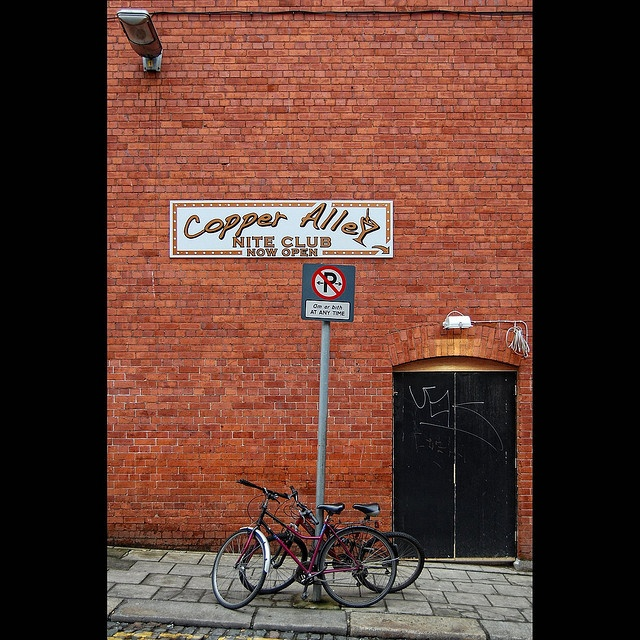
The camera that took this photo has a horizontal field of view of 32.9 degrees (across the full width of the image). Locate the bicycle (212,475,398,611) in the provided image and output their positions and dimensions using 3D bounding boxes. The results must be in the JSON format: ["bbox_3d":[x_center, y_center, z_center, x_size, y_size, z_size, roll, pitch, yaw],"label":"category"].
[{"bbox_3d":[-0.119,1.814,8.527,1.476,0.781,1.082,2,79,0],"label":"bicycle"}]

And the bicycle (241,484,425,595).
[{"bbox_3d":[0.228,1.839,8.846,1.261,0.875,0.864,0,80,-2],"label":"bicycle"}]

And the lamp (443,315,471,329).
[{"bbox_3d":[1.222,0.012,9.621,0.195,0.092,0.115,-4,27,-11],"label":"lamp"}]
